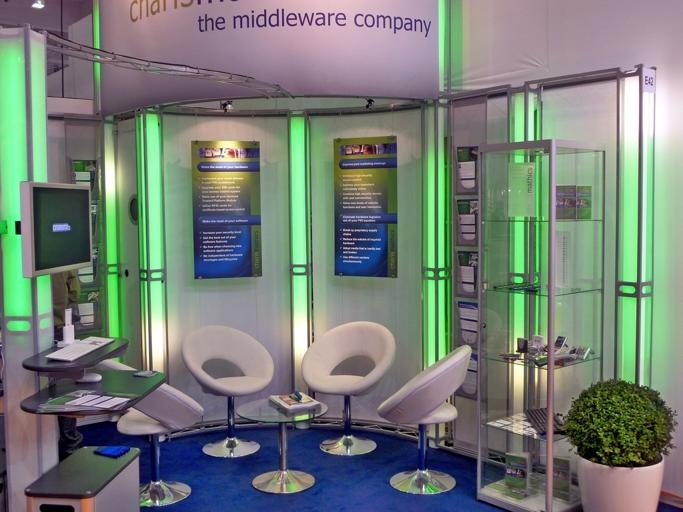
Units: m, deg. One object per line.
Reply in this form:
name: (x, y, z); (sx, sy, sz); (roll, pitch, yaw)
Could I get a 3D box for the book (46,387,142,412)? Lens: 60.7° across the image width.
book: (-1.618, 0.934, 3.753); (0.509, 0.031, 0.303); (0, 8, 7)

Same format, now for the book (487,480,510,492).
book: (1.296, 1.900, 4.803); (0.027, 0.096, 0.101); (19, -22, -41)

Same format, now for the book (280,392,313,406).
book: (-0.402, 1.298, 5.274); (0.216, 0.056, 0.225); (0, 3, -20)

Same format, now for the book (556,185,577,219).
book: (1.700, -0.414, 4.425); (0.253, 0.338, 0.033); (-1, 1, -33)

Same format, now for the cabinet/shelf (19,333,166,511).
cabinet/shelf: (-1.694, 1.097, 4.006); (0.875, 0.898, 0.846); (-2, 7, -8)

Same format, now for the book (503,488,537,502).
book: (1.443, 1.920, 4.667); (0.132, 0.031, 0.123); (-1, 3, -33)

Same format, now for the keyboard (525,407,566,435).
keyboard: (1.590, 1.284, 4.504); (0.195, 0.066, 0.244); (-4, 20, -1)
